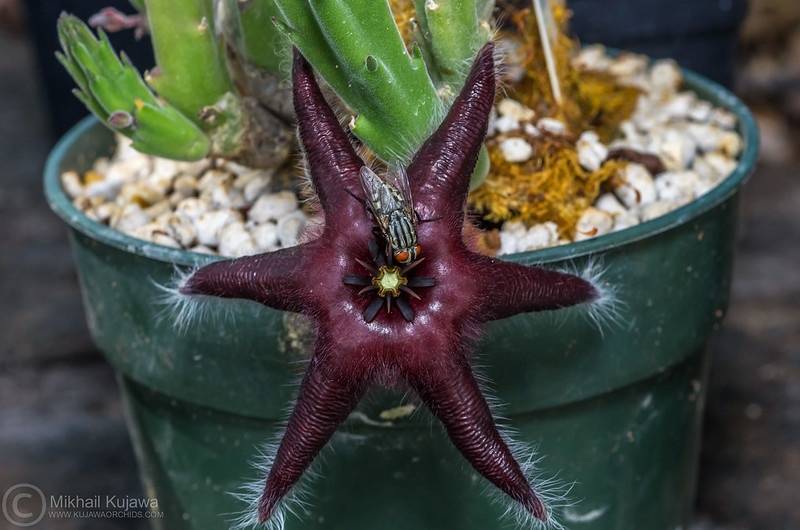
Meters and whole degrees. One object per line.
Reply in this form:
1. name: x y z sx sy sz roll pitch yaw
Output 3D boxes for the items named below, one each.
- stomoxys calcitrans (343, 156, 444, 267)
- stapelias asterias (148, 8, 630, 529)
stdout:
1. stomoxys calcitrans: -0.006 -0.053 0.933 0.096 0.035 0.108 -10 90 -17
2. stapelias asterias: -0.014 0.020 0.966 0.474 0.191 0.541 9 68 4
